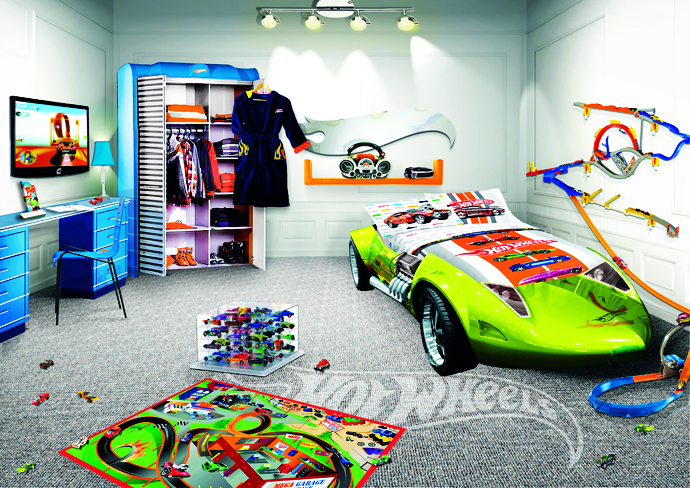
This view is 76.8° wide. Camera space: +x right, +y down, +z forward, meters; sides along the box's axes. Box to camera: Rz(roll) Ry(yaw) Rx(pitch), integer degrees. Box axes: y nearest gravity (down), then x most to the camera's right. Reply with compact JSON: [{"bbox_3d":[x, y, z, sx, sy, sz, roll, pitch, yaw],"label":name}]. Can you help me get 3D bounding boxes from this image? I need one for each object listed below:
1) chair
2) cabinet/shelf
[{"bbox_3d":[-2.537,0.111,4.364,0.703,1.008,1.361,-6,14,-26],"label":"chair"},{"bbox_3d":[-1.879,-1.068,5.420,1.783,2.814,0.901,-3,-5,-8],"label":"cabinet/shelf"}]
